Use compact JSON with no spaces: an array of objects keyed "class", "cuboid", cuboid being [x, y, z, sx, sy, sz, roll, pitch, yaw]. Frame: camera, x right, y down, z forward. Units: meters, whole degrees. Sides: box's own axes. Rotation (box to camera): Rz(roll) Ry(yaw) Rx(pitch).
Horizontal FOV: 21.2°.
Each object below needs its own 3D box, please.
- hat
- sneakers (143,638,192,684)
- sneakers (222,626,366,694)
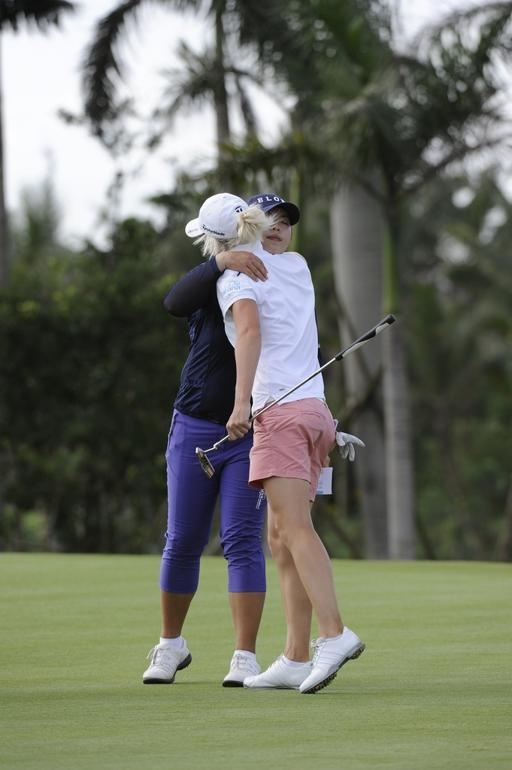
[{"class":"hat","cuboid":[-0.076,-0.522,4.470,0.296,0.104,0.179,-3,17,13]},{"class":"sneakers","cuboid":[-0.286,0.889,4.398,0.074,0.085,0.196,1,15,18]},{"class":"sneakers","cuboid":[0.127,0.827,4.143,0.184,0.241,0.416,-4,6,-34]}]
